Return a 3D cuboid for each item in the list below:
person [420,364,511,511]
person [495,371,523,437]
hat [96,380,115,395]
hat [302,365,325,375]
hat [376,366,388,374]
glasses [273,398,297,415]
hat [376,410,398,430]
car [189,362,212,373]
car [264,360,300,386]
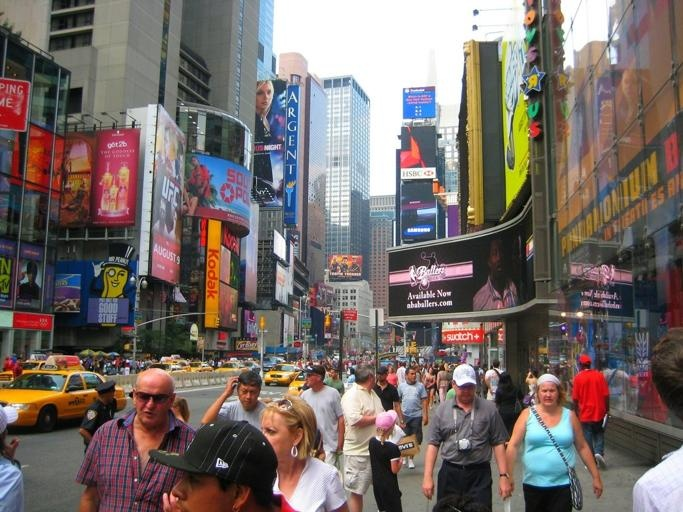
[{"bbox_3d":[1.512,2.189,7.634,1.020,1.701,0.533,-3,-11,16],"label":"person"},{"bbox_3d":[3.712,3.379,13.883,0.535,1.662,0.508,-2,7,7],"label":"person"},{"bbox_3d":[-3.972,2.240,10.603,0.271,0.143,0.342,2,-5,7],"label":"hat"},{"bbox_3d":[-0.410,1.700,9.325,0.240,0.091,0.167,3,-10,-3],"label":"hat"},{"bbox_3d":[0.833,2.264,12.467,0.173,0.142,0.306,-1,-22,13],"label":"hat"},{"bbox_3d":[-0.490,1.295,5.415,0.114,0.136,0.038,-2,20,28],"label":"glasses"},{"bbox_3d":[0.609,2.190,8.339,0.262,0.254,0.262,1,-12,-6],"label":"hat"},{"bbox_3d":[-12.090,9.571,53.525,1.550,0.926,2.688,4,1,-19],"label":"car"},{"bbox_3d":[-4.185,8.528,45.351,1.327,1.097,3.151,-2,-14,7],"label":"car"}]
